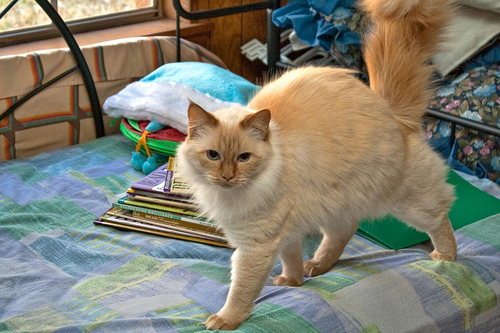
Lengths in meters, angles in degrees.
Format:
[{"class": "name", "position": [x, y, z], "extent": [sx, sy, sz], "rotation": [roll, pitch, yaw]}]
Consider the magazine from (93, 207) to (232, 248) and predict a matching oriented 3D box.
[{"class": "magazine", "position": [-0.320, 0.199, 1.791], "extent": [0.503, 0.024, 0.347], "rotation": [9, 16, 1]}]

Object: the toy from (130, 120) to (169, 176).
[{"class": "toy", "position": [-0.417, -0.072, 2.012], "extent": [0.232, 0.107, 0.172], "rotation": [-44, 80, 2]}]

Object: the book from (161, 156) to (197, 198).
[{"class": "book", "position": [-0.263, 0.046, 1.540], "extent": [0.153, 0.038, 0.158], "rotation": [-8, 77, 10]}]

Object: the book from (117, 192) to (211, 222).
[{"class": "book", "position": [-0.294, 0.143, 1.577], "extent": [0.328, 0.037, 0.244], "rotation": [7, 12, 12]}]
